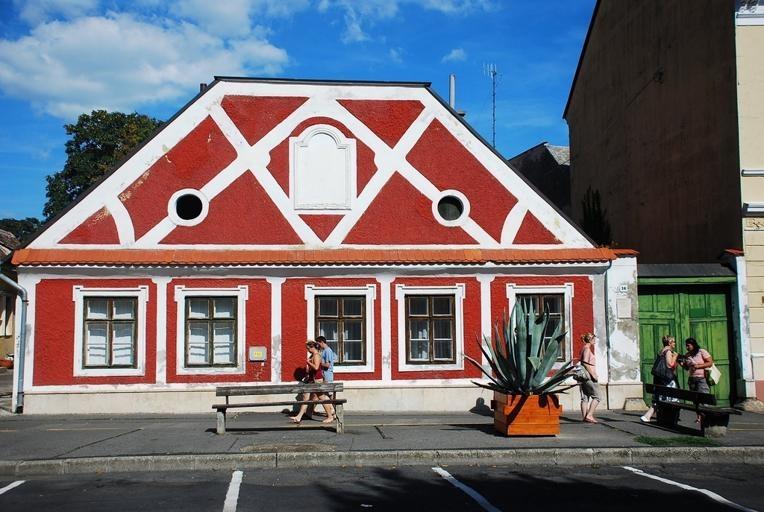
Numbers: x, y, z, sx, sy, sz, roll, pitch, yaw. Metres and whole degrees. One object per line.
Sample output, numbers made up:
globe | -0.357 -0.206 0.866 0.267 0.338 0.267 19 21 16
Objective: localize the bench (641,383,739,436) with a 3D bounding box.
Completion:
bench | 7.867 3.947 21.783 0.903 1.014 3.016 7 -5 -12

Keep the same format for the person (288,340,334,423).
person | -1.915 3.547 23.434 1.570 2.585 0.860 6 -33 -8

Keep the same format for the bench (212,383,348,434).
bench | -2.529 3.803 21.303 3.241 1.152 0.953 -2 -6 -4

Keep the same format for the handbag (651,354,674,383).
handbag | 7.530 3.065 22.696 0.618 1.112 1.124 -1 -5 15

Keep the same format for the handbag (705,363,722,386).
handbag | 9.101 3.279 23.429 0.363 0.743 0.751 -7 -25 18
